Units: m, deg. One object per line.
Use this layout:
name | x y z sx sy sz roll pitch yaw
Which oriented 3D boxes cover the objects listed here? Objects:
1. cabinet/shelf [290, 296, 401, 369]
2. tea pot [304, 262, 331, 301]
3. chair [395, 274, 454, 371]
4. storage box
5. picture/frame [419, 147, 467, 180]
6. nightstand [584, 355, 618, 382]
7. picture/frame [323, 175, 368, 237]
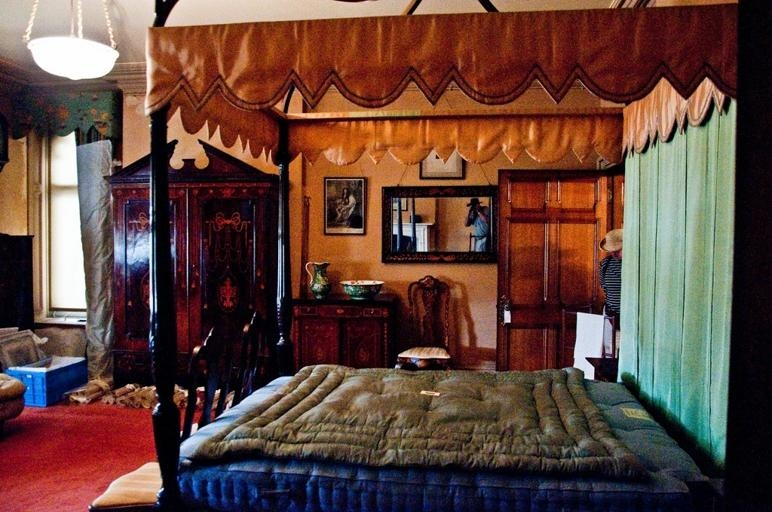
cabinet/shelf | -0.462 0.607 7.403 1.140 1.118 0.716 0 0 1
tea pot | -0.789 0.297 7.390 0.365 0.502 0.268 0 5 16
chair | 0.478 0.763 7.303 0.664 1.054 0.616 1 3 28
storage box | -3.681 1.345 7.107 0.395 0.362 0.714 1 1 6
picture/frame | 0.610 -0.965 6.822 0.375 0.284 0.018 0 4 6
nightstand | 1.792 0.925 5.430 0.228 0.330 0.347 -1 -1 14
picture/frame | -0.466 -0.618 7.635 0.666 0.873 0.063 0 0 -2
